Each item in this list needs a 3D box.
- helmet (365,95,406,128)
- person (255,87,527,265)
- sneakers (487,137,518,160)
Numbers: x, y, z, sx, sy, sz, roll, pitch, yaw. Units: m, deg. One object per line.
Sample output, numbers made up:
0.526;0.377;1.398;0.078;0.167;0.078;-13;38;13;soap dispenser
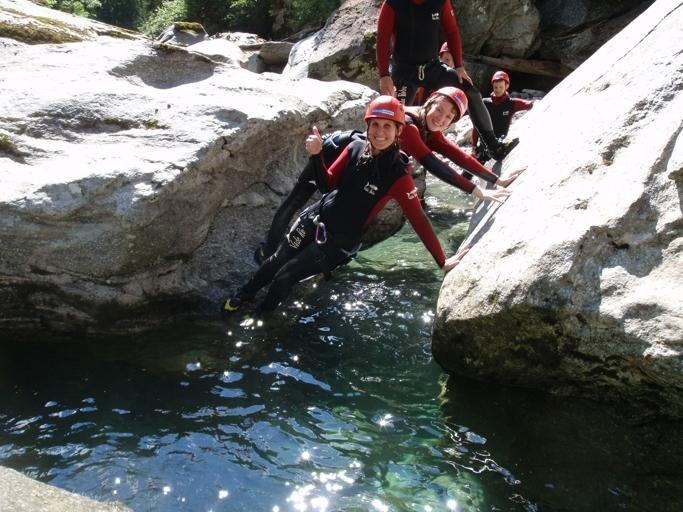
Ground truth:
0.408;-1.248;6.052;0.337;0.236;0.254;15;32;6;helmet
0.179;-0.779;6.442;2.906;1.068;1.185;-21;26;11;person
1.536;-1.004;6.653;0.140;0.326;0.104;37;60;-17;sneakers
